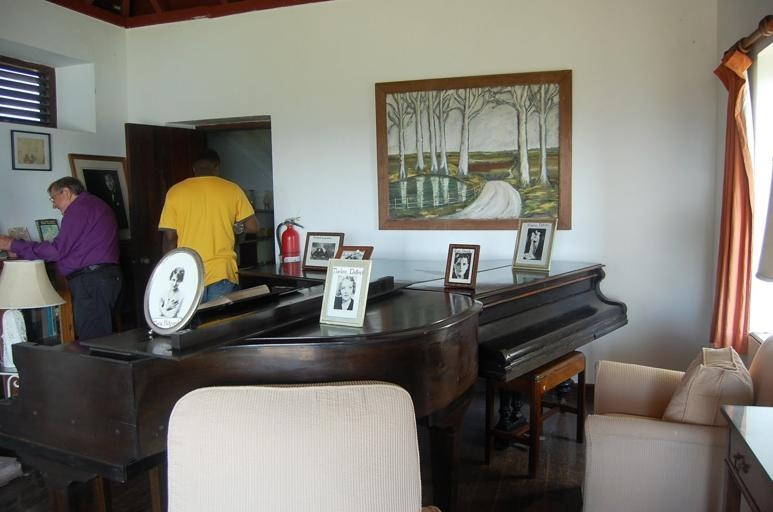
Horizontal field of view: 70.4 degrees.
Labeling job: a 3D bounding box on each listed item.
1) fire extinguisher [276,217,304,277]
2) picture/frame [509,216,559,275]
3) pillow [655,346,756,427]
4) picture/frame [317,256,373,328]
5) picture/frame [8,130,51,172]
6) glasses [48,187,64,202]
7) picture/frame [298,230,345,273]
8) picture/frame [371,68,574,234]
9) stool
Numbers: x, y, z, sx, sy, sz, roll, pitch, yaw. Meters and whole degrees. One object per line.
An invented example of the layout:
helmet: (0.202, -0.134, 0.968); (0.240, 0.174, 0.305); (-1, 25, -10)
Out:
fire extinguisher: (-0.852, -0.120, 4.783); (0.215, 0.381, 0.136); (-2, 23, -7)
picture/frame: (1.230, -0.082, 4.503); (0.468, 0.587, 0.080); (6, -18, 30)
pillow: (1.743, 0.703, 2.968); (0.361, 0.415, 0.138); (17, 6, 20)
picture/frame: (-0.215, 0.206, 2.965); (0.357, 0.446, 0.030); (6, -16, 21)
picture/frame: (-3.273, -0.962, 5.046); (0.420, 0.360, 0.031); (5, 8, 11)
glasses: (-2.858, -0.536, 4.747); (0.103, 0.064, 0.131); (2, 0, 0)
picture/frame: (-0.518, -0.035, 4.373); (0.380, 0.343, 0.041); (5, -18, 17)
picture/frame: (0.870, -1.005, 5.064); (1.644, 1.211, 0.056); (0, 5, 14)
stool: (1.134, 1.111, 4.087); (0.396, 0.720, 0.936); (4, 5, 39)
